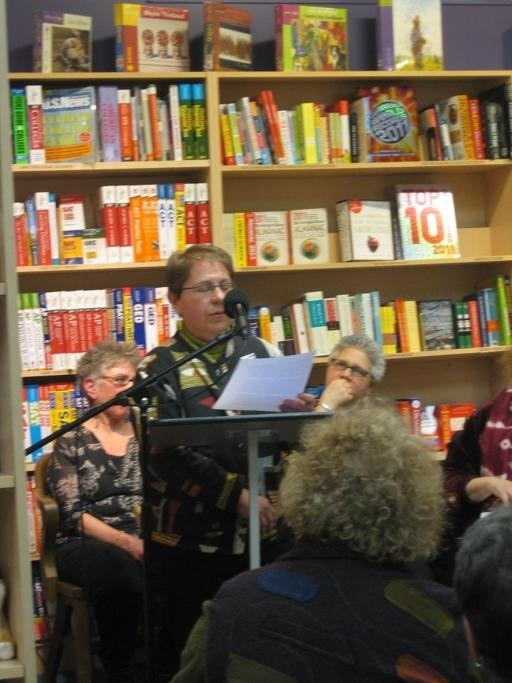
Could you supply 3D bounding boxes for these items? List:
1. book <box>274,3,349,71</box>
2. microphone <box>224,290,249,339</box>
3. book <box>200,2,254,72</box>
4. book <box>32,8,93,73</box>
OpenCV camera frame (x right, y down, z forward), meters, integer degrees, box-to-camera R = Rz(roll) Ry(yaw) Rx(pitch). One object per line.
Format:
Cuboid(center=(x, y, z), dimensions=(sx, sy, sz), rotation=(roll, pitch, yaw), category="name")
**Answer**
Cuboid(center=(0.248, -1.370, 2.956), dimensions=(0.403, 0.303, 0.119), rotation=(0, 7, -15), category="book")
Cuboid(center=(-0.046, -0.058, 1.441), dimensions=(0.042, 0.040, 0.127), rotation=(35, 23, -25), category="microphone")
Cuboid(center=(-0.126, -1.331, 2.889), dimensions=(0.217, 0.285, 0.097), rotation=(-4, 3, -9), category="book")
Cuboid(center=(-0.834, -1.284, 2.809), dimensions=(0.095, 0.226, 0.264), rotation=(31, 36, 32), category="book")
